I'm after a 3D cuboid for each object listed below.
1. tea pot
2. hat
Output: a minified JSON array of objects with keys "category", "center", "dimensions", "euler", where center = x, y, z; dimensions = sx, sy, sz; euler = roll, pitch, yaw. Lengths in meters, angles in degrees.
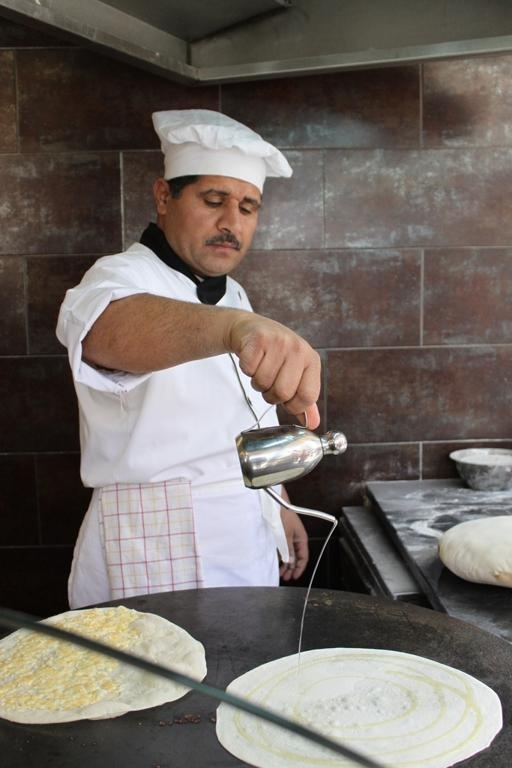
[{"category":"tea pot","center":[0.043,0.096,1.091],"dimensions":[0.190,0.160,0.107],"euler":[-7,9,-9]},{"category":"hat","center":[-0.104,-0.563,1.867],"dimensions":[0.353,0.172,0.326],"euler":[11,11,20]}]
